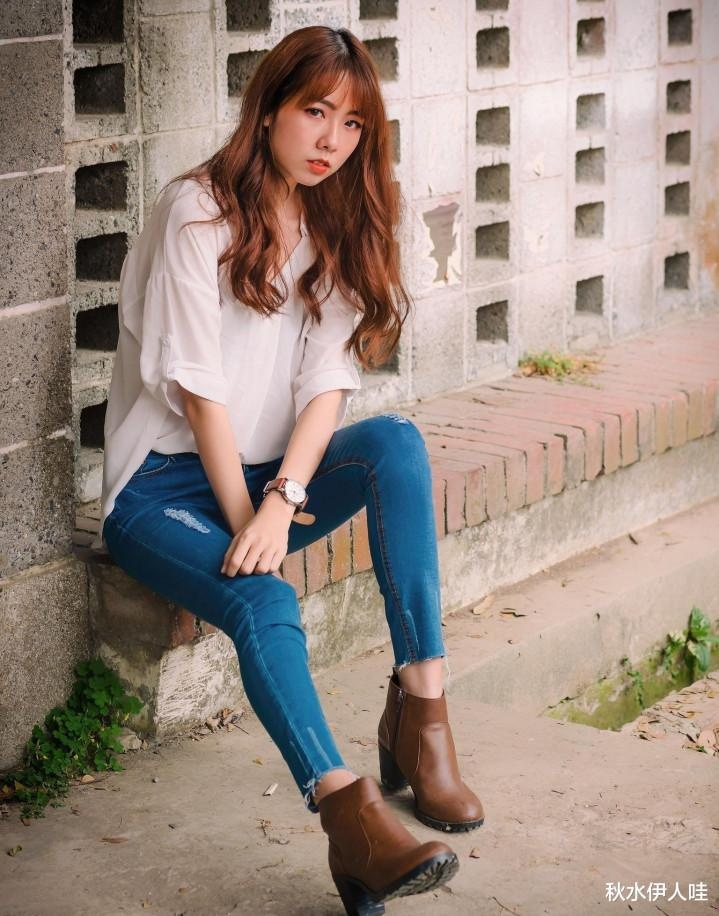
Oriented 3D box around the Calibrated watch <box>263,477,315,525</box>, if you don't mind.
[{"bbox_3d":[-0.117,0.069,1.790,0.060,0.073,0.045,-31,19,30],"label":"Calibrated watch"}]
